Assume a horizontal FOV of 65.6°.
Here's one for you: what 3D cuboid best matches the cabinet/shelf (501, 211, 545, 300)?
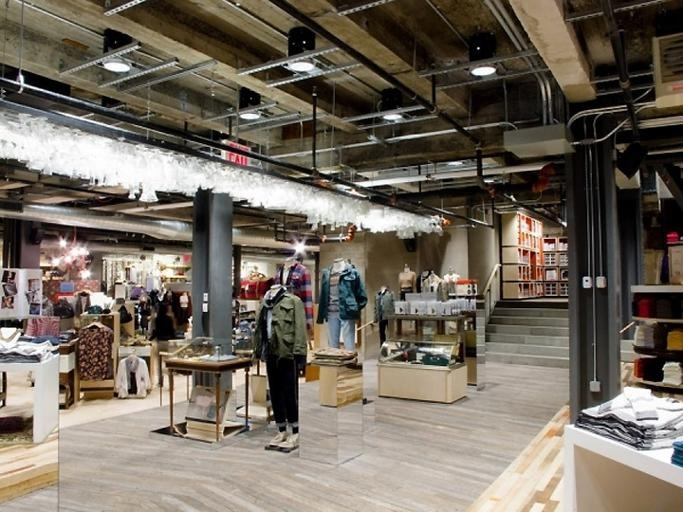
[{"bbox_3d":[6.393,0.061,18.286,0.762,2.801,3.171,-3,-5,37],"label":"cabinet/shelf"}]

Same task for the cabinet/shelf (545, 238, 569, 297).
[{"bbox_3d":[8.230,0.457,19.558,0.704,2.291,0.781,16,-3,-3],"label":"cabinet/shelf"}]

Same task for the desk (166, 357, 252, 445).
[{"bbox_3d":[-1.731,1.688,6.959,1.111,0.851,1.063,-1,11,-33],"label":"desk"}]

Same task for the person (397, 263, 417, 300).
[{"bbox_3d":[1.648,0.642,13.302,0.446,0.650,1.050,-1,0,5],"label":"person"}]

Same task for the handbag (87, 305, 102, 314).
[{"bbox_3d":[-4.534,0.990,9.730,0.184,0.170,0.186,4,-8,-38],"label":"handbag"}]

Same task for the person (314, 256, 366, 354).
[{"bbox_3d":[-0.005,0.759,8.310,0.753,1.142,0.652,-1,0,-4],"label":"person"}]

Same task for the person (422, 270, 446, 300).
[{"bbox_3d":[2.130,0.679,12.317,0.604,0.788,0.295,-3,-6,20],"label":"person"}]

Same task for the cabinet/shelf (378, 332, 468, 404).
[{"bbox_3d":[1.417,1.522,8.906,1.670,1.065,0.947,0,-1,28],"label":"cabinet/shelf"}]

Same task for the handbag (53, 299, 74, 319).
[{"bbox_3d":[-4.283,0.812,8.139,0.323,0.422,0.200,-2,-2,-25],"label":"handbag"}]

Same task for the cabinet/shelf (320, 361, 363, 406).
[{"bbox_3d":[0.041,1.483,6.194,0.533,0.473,0.383,3,-10,-39],"label":"cabinet/shelf"}]

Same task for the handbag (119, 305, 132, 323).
[{"bbox_3d":[-4.471,1.209,10.909,0.115,0.356,0.325,-1,0,31],"label":"handbag"}]

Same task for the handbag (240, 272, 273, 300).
[{"bbox_3d":[-2.862,1.018,17.271,1.015,0.528,1.509,0,-4,-7],"label":"handbag"}]

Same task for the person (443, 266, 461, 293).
[{"bbox_3d":[2.650,0.573,12.659,0.280,0.740,0.497,21,-25,-39],"label":"person"}]

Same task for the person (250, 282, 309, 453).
[{"bbox_3d":[-0.695,1.302,6.249,0.478,1.647,0.629,-1,0,-38],"label":"person"}]
